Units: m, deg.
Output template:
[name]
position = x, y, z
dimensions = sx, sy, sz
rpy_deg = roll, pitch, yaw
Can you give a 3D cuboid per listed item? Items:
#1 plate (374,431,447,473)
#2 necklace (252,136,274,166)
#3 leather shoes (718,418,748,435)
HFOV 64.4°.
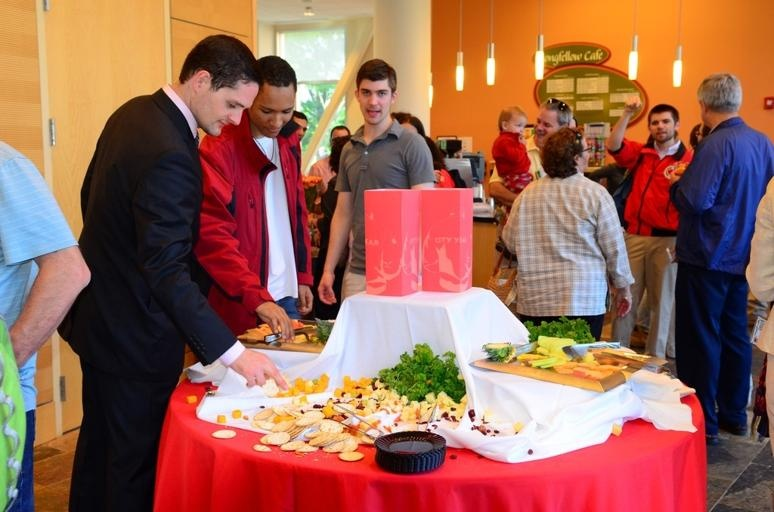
[plate]
position = 0.085, 0.694, 2.186
dimensions = 0.254, 0.087, 0.152
rpy_deg = -1, 12, 1
[necklace]
position = -0.664, -0.559, 3.271
dimensions = 0.066, 0.125, 0.096
rpy_deg = -17, 52, 8
[leather shoes]
position = 2.417, 1.195, 4.332
dimensions = 0.072, 0.090, 0.196
rpy_deg = 2, -1, -30
